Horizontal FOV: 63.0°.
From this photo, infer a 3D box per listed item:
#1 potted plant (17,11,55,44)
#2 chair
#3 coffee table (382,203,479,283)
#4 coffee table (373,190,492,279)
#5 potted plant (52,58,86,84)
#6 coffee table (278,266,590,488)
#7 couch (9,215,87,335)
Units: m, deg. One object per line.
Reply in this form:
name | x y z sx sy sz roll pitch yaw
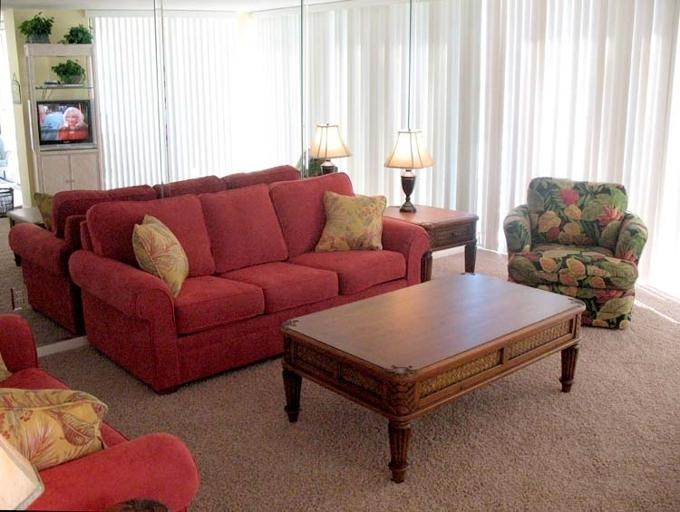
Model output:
potted plant | -1.984 -1.491 3.632 0.201 0.154 0.172 -23 48 -34
chair | 1.842 -0.035 4.655 1.212 1.237 1.180 7 15 27
coffee table | 0.773 -0.242 4.966 0.844 0.687 0.627 -13 20 -42
coffee table | 0.792 -0.044 4.984 0.588 0.628 0.787 9 16 43
potted plant | -1.846 -1.255 3.766 0.158 0.105 0.158 -2 18 -6
coffee table | 0.531 0.594 3.205 1.597 0.617 0.870 -14 21 -32
couch | -2.012 0.138 3.813 0.403 0.717 0.654 13 17 33
